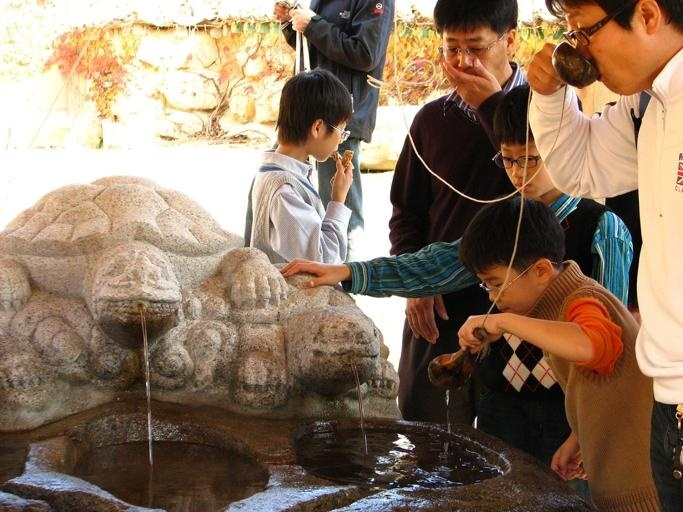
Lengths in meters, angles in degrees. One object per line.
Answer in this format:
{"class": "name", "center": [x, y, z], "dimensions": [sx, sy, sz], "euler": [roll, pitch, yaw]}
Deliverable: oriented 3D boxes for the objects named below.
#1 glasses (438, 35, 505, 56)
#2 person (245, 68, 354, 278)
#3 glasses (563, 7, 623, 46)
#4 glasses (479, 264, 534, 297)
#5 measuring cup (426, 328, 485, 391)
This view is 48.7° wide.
{"class": "glasses", "center": [0.675, -1.078, 3.882], "dimensions": [0.332, 0.119, 0.189], "euler": [3, 9, 15]}
{"class": "person", "center": [-0.187, -0.521, 4.555], "dimensions": [0.595, 1.219, 0.612], "euler": [-7, 17, -32]}
{"class": "glasses", "center": [0.804, -0.755, 2.480], "dimensions": [0.115, 0.101, 0.064], "euler": [11, 15, 43]}
{"class": "glasses", "center": [0.683, 0.069, 3.200], "dimensions": [0.227, 0.144, 0.192], "euler": [-7, 13, -39]}
{"class": "measuring cup", "center": [0.472, 0.413, 3.001], "dimensions": [0.194, 0.255, 0.151], "euler": [-3, 9, -24]}
